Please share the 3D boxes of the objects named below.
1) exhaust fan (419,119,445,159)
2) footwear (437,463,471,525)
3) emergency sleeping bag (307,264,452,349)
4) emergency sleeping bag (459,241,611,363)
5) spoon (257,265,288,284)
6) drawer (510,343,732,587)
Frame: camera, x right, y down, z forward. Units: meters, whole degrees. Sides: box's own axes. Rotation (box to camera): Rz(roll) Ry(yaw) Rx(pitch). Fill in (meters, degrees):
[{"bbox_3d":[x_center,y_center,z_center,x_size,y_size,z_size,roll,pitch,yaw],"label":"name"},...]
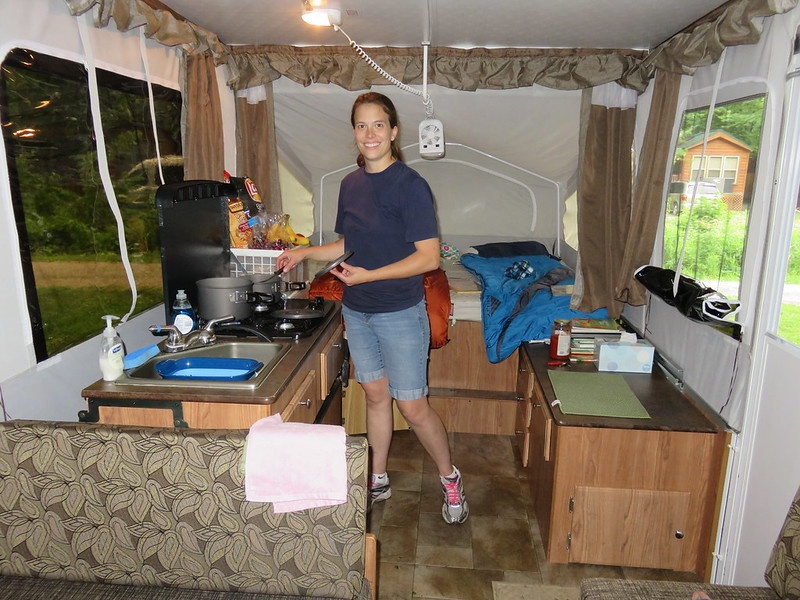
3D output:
[{"bbox_3d":[0.196,-0.997,3.421,0.133,0.191,0.197,8,-30,7],"label":"exhaust fan"},{"bbox_3d":[0.262,0.928,2.775,0.118,0.280,0.128,-3,-37,4],"label":"footwear"},{"bbox_3d":[-0.029,0.001,3.304,0.593,0.431,0.913,5,10,-7],"label":"emergency sleeping bag"},{"bbox_3d":[0.782,-0.046,3.682,0.809,0.736,0.717,-1,12,-7],"label":"emergency sleeping bag"},{"bbox_3d":[-0.594,-0.116,2.680,0.063,0.059,0.231,-1,-13,-32],"label":"spoon"},{"bbox_3d":[0.983,0.768,2.685,0.761,0.720,0.630,1,13,6],"label":"drawer"}]
